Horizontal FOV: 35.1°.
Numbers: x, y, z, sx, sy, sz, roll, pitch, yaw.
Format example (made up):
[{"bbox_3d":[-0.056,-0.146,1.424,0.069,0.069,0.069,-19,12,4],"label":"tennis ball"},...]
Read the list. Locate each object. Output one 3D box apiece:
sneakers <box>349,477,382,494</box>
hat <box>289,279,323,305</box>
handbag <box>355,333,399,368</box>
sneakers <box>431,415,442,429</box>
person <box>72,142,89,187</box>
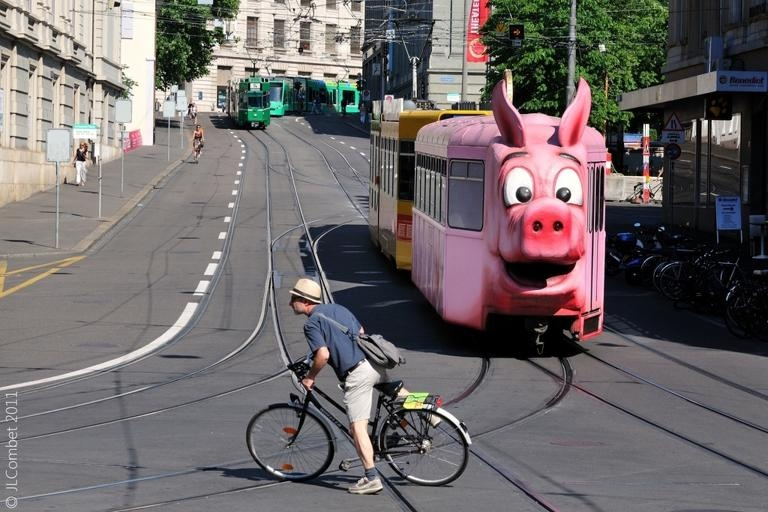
[{"bbox_3d":[-0.239,3.362,17.459,0.548,0.283,0.203,-1,3,0],"label":"sneakers"},{"bbox_3d":[-1.166,0.490,17.682,0.362,0.233,0.431,16,-3,-33],"label":"hat"},{"bbox_3d":[-0.050,1.400,17.553,0.562,0.230,0.453,30,19,15],"label":"handbag"},{"bbox_3d":[0.749,2.410,17.478,0.150,0.141,0.128,2,-2,-18],"label":"sneakers"},{"bbox_3d":[-12.479,-3.814,50.510,0.470,1.722,1.591,-3,11,-16],"label":"person"}]
